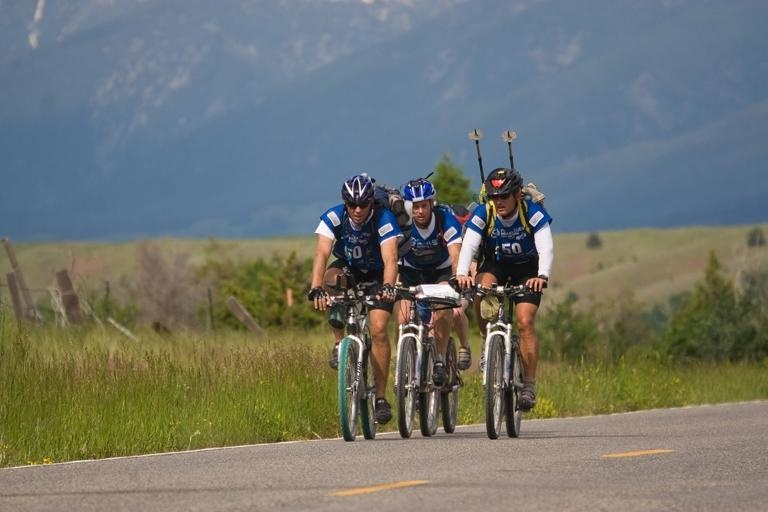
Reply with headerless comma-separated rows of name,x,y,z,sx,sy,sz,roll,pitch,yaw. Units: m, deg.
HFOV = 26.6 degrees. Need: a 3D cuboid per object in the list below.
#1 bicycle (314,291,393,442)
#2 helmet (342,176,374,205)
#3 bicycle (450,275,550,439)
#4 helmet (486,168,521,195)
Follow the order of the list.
bicycle,-0.453,1.718,26.564,0.915,2.586,0.554,0,6,-33
helmet,-0.428,-1.149,26.448,0.503,0.499,0.302,3,5,-2
bicycle,1.948,1.691,26.981,1.052,2.610,0.575,-1,6,-35
helmet,1.963,-1.301,27.034,0.601,0.496,0.367,4,5,5
